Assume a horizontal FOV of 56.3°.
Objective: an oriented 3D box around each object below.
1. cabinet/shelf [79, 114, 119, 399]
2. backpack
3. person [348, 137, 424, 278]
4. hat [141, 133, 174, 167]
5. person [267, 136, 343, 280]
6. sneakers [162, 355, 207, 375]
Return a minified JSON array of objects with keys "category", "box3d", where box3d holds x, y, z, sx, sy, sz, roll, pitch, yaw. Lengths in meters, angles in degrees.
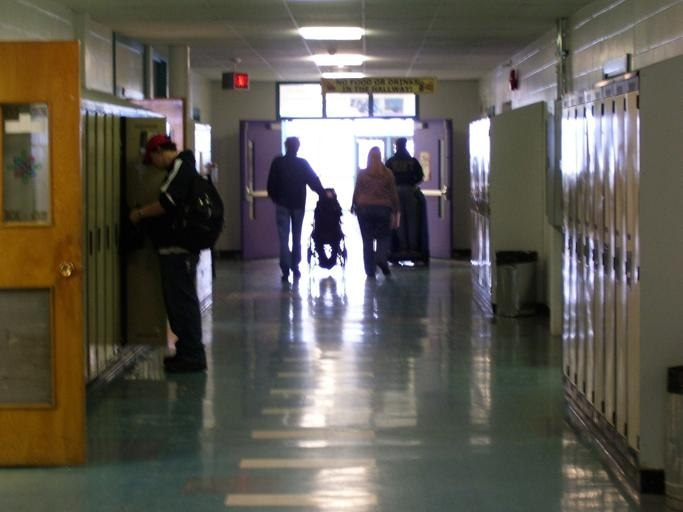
[{"category":"cabinet/shelf","box3d":[-1.905,-0.077,5.066,0.200,2.080,0.716,-1,6,-6]},{"category":"backpack","box3d":[-1.166,-0.397,5.140,0.387,0.767,0.193,-2,6,-16]},{"category":"person","box3d":[0.541,-0.699,10.213,0.762,2.064,0.472,0,6,1]},{"category":"hat","box3d":[-1.520,-0.868,5.213,0.312,0.240,0.177,5,9,40]},{"category":"person","box3d":[-0.716,-0.780,10.231,0.951,2.266,0.807,0,6,0]},{"category":"sneakers","box3d":[-1.345,0.936,5.456,0.243,0.098,0.184,4,-2,-4]}]
